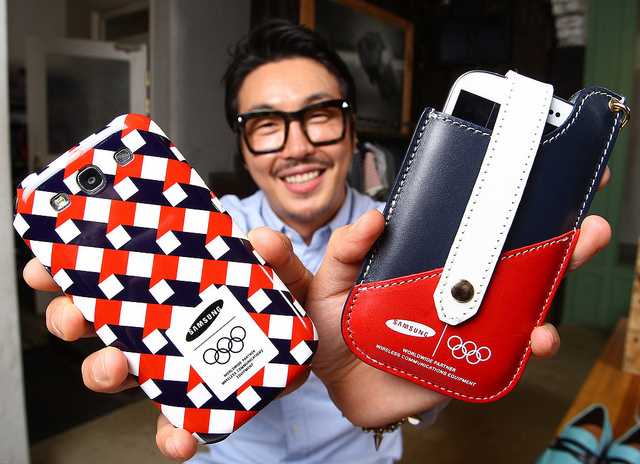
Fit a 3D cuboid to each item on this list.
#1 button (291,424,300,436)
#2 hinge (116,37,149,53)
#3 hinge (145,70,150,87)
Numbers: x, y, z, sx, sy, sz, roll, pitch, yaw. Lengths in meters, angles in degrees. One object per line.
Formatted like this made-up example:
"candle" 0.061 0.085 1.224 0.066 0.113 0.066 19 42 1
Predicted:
"button" -0.092 0.745 2.332 0.027 0.041 0.009 -1 -4 -8
"hinge" -1.225 -1.215 4.024 0.179 0.105 0.274 1 14 -6
"hinge" -1.007 -0.889 3.608 0.029 0.089 0.097 -2 14 -15
